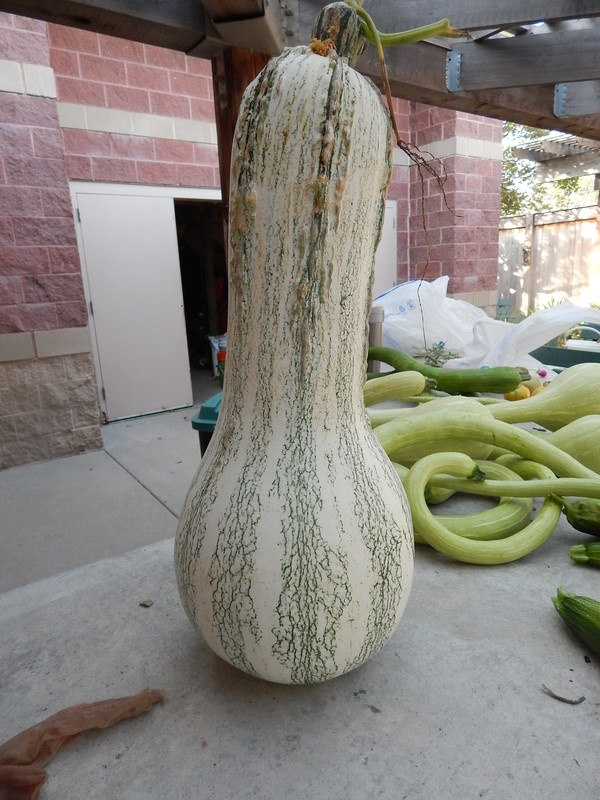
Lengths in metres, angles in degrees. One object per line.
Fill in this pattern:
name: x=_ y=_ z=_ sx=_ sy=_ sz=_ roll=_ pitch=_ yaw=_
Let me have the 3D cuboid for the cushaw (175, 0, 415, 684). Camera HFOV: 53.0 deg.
cushaw: x=-0.005 y=-0.077 z=0.874 sx=0.374 sy=0.988 sz=0.284 roll=-5 pitch=15 yaw=-18

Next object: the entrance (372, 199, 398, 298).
entrance: x=0.781 y=-1.465 z=5.944 sx=0.534 sy=0.960 sz=0.078 roll=-15 pitch=21 yaw=-37
